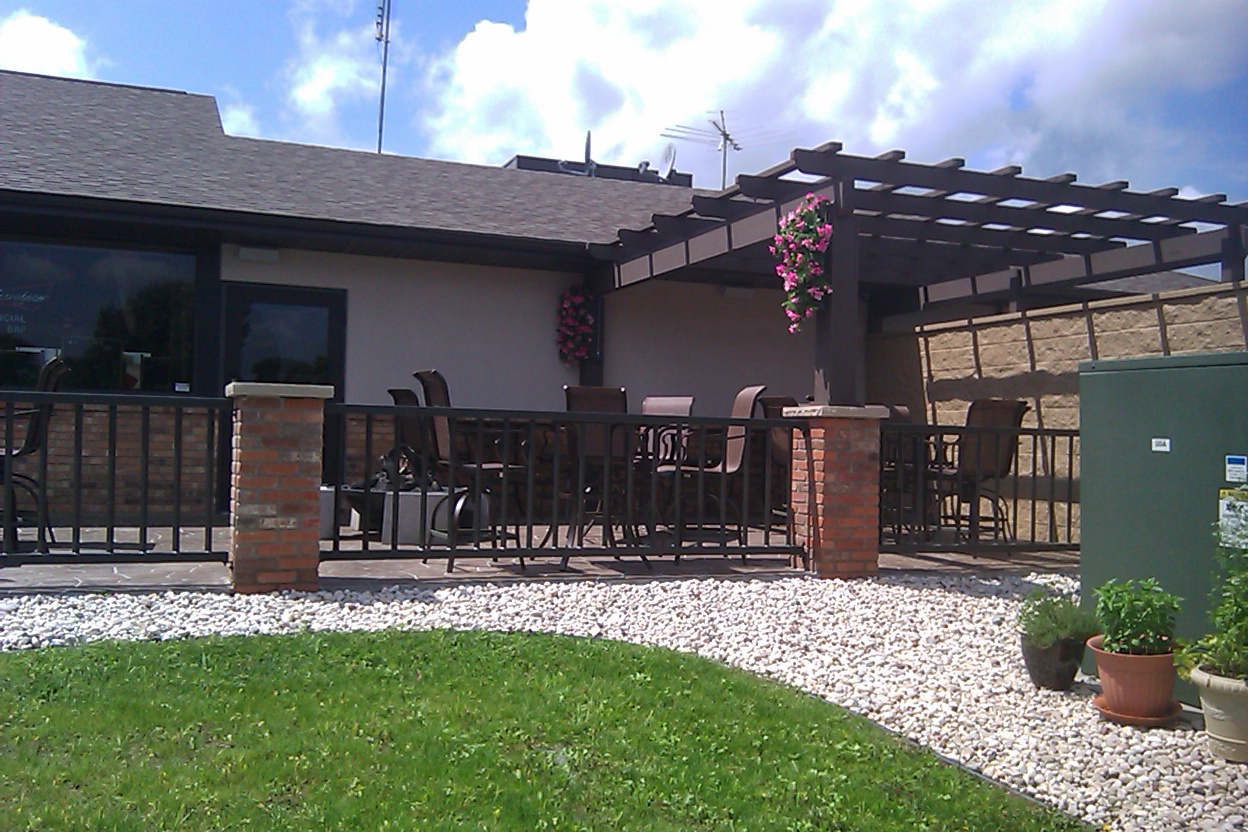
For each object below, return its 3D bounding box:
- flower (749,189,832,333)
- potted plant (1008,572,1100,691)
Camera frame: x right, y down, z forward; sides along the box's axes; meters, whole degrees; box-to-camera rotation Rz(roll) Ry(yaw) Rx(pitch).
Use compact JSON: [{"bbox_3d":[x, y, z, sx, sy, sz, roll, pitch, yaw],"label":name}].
[{"bbox_3d":[1.597,-1.368,8.976,0.342,1.234,0.611,-5,15,-28],"label":"flower"},{"bbox_3d":[2.642,1.341,6.382,0.517,0.716,0.622,2,-2,-17],"label":"potted plant"}]
